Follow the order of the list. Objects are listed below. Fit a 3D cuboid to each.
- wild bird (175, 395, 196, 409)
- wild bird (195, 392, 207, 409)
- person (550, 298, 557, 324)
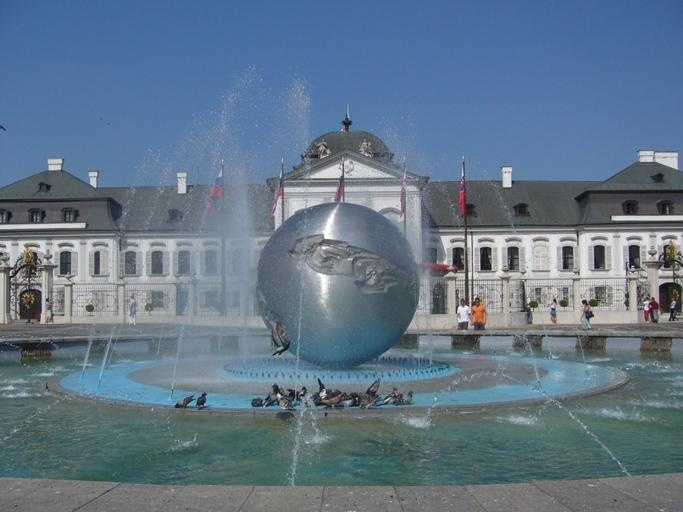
[{"bbox_3d":[-3.511,3.255,21.032,0.396,0.247,0.824,0,8,-2],"label":"wild bird"},{"bbox_3d":[-3.091,3.241,20.848,0.284,0.357,0.224,-7,-1,-3],"label":"wild bird"},{"bbox_3d":[10.036,2.588,44.285,0.325,1.239,1.275,2,8,12],"label":"person"}]
